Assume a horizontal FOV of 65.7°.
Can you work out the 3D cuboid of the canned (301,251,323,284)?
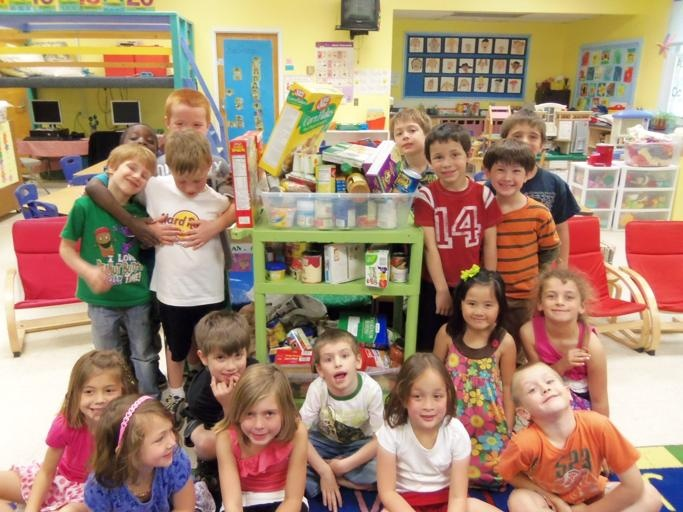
[{"bbox_3d":[-0.152,0.065,2.798,0.126,0.130,0.121,-1,6,-2],"label":"canned"}]

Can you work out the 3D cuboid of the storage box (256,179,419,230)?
[{"bbox_3d":[-0.016,-0.232,2.698,0.757,0.204,0.070,-1,17,0],"label":"storage box"}]

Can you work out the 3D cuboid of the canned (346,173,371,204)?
[{"bbox_3d":[0.085,-0.342,2.656,0.124,0.140,0.137,-5,34,-2],"label":"canned"}]

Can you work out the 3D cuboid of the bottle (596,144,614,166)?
[{"bbox_3d":[3.080,-1.199,6.224,0.220,0.251,0.248,-2,12,8],"label":"bottle"}]

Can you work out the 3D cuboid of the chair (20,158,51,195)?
[{"bbox_3d":[-4.989,-1.306,8.595,0.429,0.520,0.382,-11,9,-17],"label":"chair"}]

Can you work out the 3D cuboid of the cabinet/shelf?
[{"bbox_3d":[-0.050,0.305,3.088,0.986,0.867,0.691,-1,7,-1],"label":"cabinet/shelf"}]

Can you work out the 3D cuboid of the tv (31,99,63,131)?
[{"bbox_3d":[-4.946,-2.387,8.915,0.576,0.448,0.404,-2,16,-5],"label":"tv"}]

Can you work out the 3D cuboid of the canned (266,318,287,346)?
[{"bbox_3d":[-0.357,0.443,3.077,0.136,0.131,0.130,-2,5,-3],"label":"canned"}]

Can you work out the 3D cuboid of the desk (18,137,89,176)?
[{"bbox_3d":[-4.537,-1.566,8.355,1.076,0.496,0.389,-6,16,-21],"label":"desk"}]
